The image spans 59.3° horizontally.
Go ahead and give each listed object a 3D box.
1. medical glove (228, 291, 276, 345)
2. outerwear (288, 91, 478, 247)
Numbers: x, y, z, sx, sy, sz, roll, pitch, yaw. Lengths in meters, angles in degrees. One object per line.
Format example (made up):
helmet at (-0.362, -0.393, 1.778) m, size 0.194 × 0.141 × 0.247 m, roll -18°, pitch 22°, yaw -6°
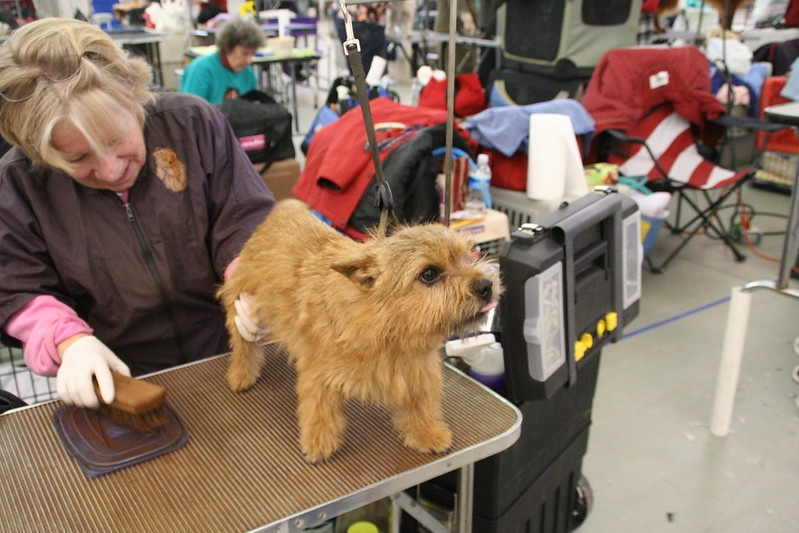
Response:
medical glove at (-0.600, 0.211, 2.842) m, size 0.244 × 0.179 × 0.154 m, roll 26°, pitch -18°, yaw -40°
outerwear at (-0.160, -0.614, 4.679) m, size 0.853 × 0.422 × 1.161 m, roll -11°, pitch 34°, yaw -7°
